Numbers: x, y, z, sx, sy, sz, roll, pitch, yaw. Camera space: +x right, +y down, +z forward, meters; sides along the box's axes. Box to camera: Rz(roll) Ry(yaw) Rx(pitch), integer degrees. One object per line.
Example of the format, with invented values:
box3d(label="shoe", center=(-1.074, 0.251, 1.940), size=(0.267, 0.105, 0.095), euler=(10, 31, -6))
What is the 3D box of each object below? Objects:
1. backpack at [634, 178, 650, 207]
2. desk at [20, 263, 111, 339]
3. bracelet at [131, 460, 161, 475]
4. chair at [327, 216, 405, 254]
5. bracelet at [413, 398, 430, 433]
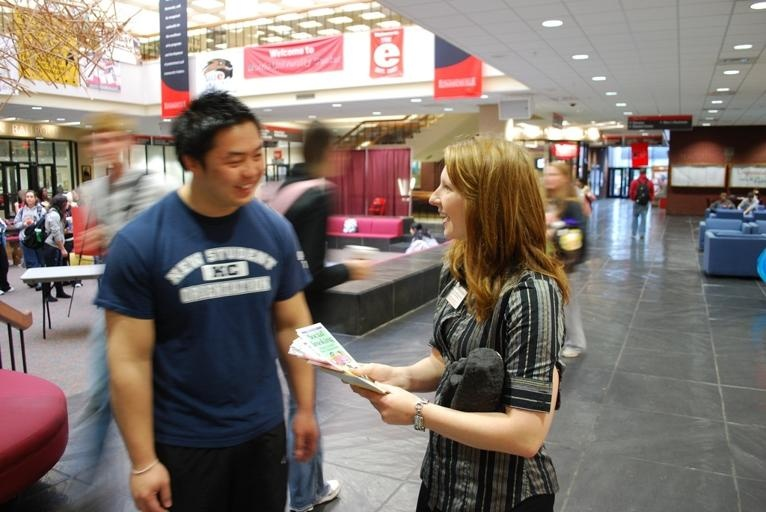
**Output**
box3d(label="backpack", center=(7.508, -1.875, 13.203), size=(0.436, 0.754, 0.373), euler=(-8, 11, -44))
box3d(label="desk", center=(-4.078, 0.589, 5.761), size=(0.587, 0.523, 1.087), euler=(-17, 2, 13))
box3d(label="bracelet", center=(-0.796, 0.704, 1.515), size=(0.050, 0.012, 0.049), euler=(-20, 3, 45))
box3d(label="chair", center=(-0.468, -0.831, 14.428), size=(2.643, 1.412, 1.097), euler=(3, 1, 7))
box3d(label="bracelet", center=(0.134, 0.479, 1.362), size=(0.056, 0.086, 0.081), euler=(0, -12, 25))
